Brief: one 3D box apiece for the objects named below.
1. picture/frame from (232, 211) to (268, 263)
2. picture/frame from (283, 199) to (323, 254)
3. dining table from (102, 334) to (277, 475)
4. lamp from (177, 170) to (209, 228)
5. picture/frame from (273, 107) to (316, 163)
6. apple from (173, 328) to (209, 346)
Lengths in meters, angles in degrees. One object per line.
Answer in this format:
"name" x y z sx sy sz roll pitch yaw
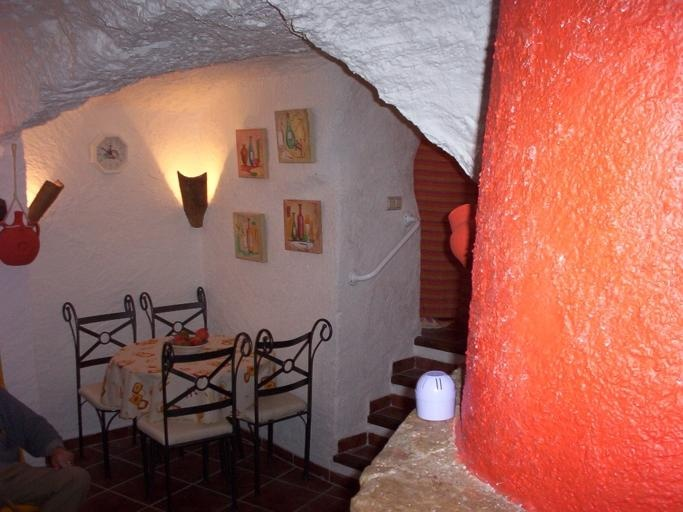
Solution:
"picture/frame" -0.687 -0.144 4.151 0.037 0.368 0.376 -7 10 -41
"picture/frame" -0.264 -0.204 3.761 0.342 0.349 0.029 6 9 40
"dining table" -1.033 0.758 3.358 0.759 0.280 0.758 -10 22 -43
"lamp" -1.161 -0.436 4.416 0.214 0.455 0.232 -5 11 -13
"picture/frame" -0.302 -0.803 3.682 0.364 0.433 0.049 8 20 42
"apple" -0.968 0.535 3.671 0.133 0.065 0.152 3 2 7
